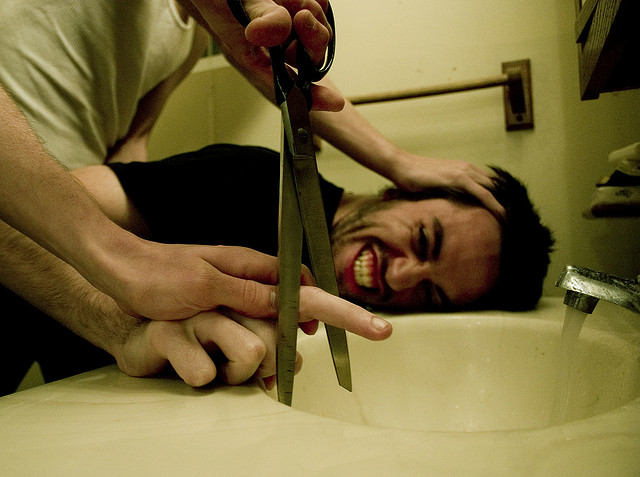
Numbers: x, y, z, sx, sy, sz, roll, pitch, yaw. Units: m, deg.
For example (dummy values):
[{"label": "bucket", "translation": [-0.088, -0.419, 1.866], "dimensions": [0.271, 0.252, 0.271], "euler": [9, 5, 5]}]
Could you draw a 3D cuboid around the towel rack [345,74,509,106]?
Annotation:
[{"label": "towel rack", "translation": [0.237, -0.304, 1.299], "dimensions": [0.409, 0.059, 0.040], "euler": [-13, 13, -22]}]
